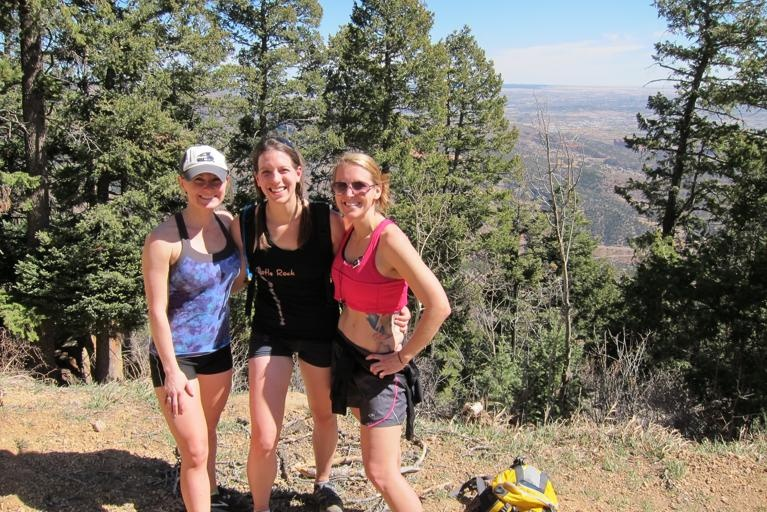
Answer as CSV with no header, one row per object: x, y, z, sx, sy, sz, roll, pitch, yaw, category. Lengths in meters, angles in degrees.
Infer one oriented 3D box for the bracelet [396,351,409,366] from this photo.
0.298,1.667,10.386,0.221,0.085,0.187,35,0,37,bracelet

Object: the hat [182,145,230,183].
-2.972,-1.554,10.508,0.749,0.581,1.234,0,4,-20,hat
